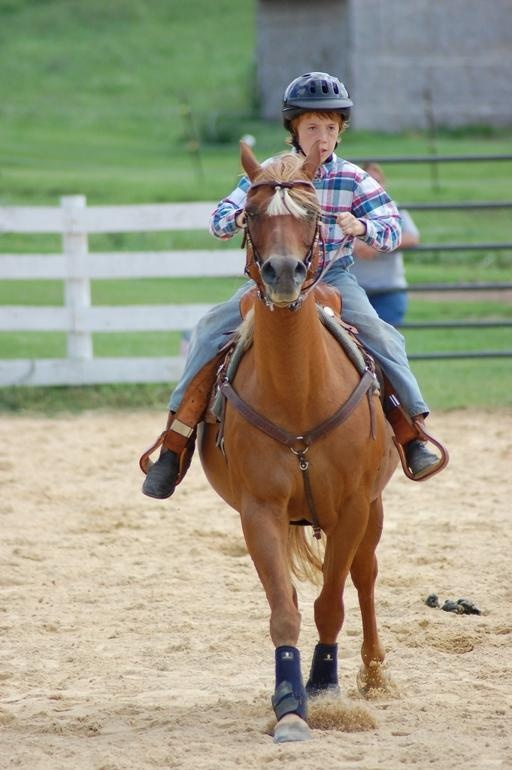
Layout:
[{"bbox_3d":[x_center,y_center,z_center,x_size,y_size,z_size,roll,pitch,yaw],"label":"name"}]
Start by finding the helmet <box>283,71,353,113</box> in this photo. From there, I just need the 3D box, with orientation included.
[{"bbox_3d":[0.237,-1.156,5.355,0.269,0.152,0.196,0,14,0],"label":"helmet"}]

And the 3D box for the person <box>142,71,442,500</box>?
[{"bbox_3d":[0.260,-0.440,5.376,1.184,1.575,1.072,6,11,32],"label":"person"}]

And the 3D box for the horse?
[{"bbox_3d":[0.117,0.202,4.977,0.617,2.166,0.987,3,15,15],"label":"horse"}]

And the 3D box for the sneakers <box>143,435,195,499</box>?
[{"bbox_3d":[-0.363,0.340,5.640,0.134,0.148,0.395,18,14,2],"label":"sneakers"}]
